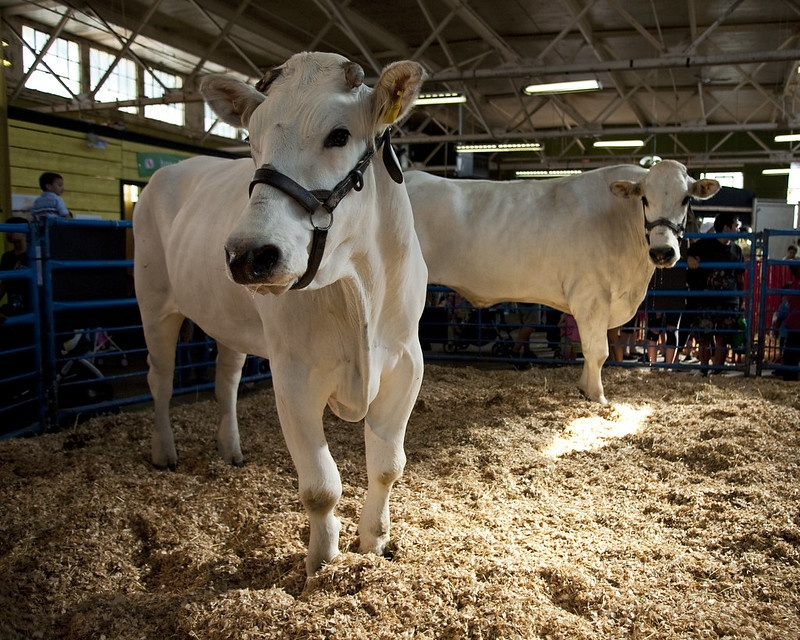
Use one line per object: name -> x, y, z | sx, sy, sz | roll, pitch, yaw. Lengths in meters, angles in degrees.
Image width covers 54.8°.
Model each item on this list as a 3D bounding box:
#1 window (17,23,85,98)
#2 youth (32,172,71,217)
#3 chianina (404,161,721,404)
window -> -5.699, -4.263, 12.782 | 1.535, 0.990, 0.055 | 22, 32, 26
youth -> -3.632, -1.241, 7.985 | 0.413, 0.606, 0.343 | -1, 0, 38
chianina -> 1.028, -0.370, 6.875 | 3.145, 2.030, 1.098 | -2, 11, -10
